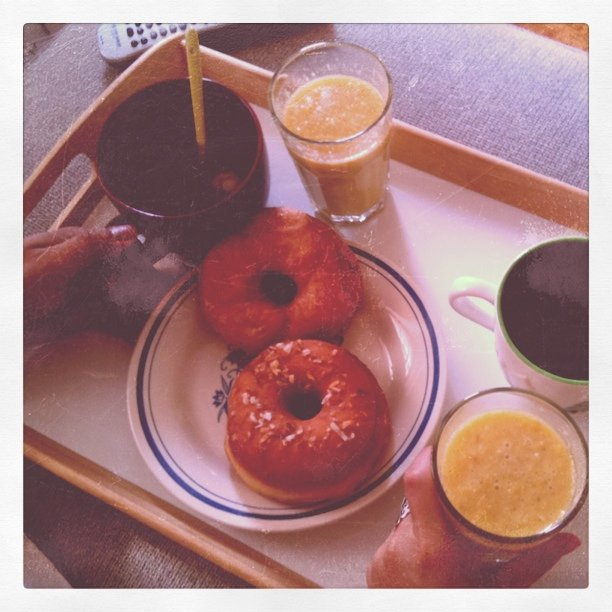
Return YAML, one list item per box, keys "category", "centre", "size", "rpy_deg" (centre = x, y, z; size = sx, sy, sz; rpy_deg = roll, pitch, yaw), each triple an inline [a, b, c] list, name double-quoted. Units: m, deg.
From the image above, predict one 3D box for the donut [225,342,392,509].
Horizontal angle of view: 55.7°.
- category: "donut"
  centre: [-0.001, 0.114, 0.598]
  size: [0.144, 0.062, 0.178]
  rpy_deg: [-6, 67, -1]

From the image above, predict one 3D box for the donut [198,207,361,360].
- category: "donut"
  centre: [-0.035, -0.003, 0.582]
  size: [0.148, 0.059, 0.178]
  rpy_deg: [5, 82, 3]

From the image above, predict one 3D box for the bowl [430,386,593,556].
- category: "bowl"
  centre: [0.203, 0.160, 0.631]
  size: [0.143, 0.088, 0.173]
  rpy_deg: [-9, 80, 0]

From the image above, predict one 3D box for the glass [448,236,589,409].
- category: "glass"
  centre: [0.251, 0.015, 0.660]
  size: [0.183, 0.139, 0.153]
  rpy_deg: [9, 76, 31]

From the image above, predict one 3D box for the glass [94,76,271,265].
- category: "glass"
  centre: [-0.134, -0.154, 0.648]
  size: [0.183, 0.086, 0.180]
  rpy_deg: [-30, 66, -11]

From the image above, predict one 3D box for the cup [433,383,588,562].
- category: "cup"
  centre: [0.210, 0.170, 0.625]
  size: [0.134, 0.117, 0.178]
  rpy_deg: [-4, 73, 5]
